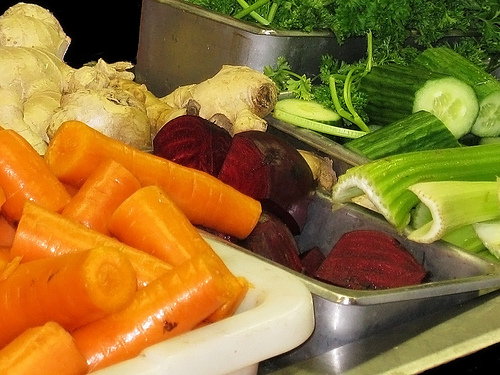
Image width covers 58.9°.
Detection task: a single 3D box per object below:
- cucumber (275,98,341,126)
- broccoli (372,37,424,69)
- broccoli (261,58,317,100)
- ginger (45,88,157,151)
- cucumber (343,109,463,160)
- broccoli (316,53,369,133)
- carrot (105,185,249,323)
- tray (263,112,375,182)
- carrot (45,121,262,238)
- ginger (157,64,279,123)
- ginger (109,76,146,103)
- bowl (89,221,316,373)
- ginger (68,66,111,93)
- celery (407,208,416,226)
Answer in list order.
[{"bbox_3d":[0.239,-0.316,1.809,0.171,0.131,0.204,-22,20,-37],"label":"cucumber"},{"bbox_3d":[0.678,-0.613,1.983,0.248,0.069,0.283,23,13,20],"label":"broccoli"},{"bbox_3d":[0.203,-0.450,1.852,0.320,0.159,0.147,-10,35,-36],"label":"broccoli"},{"bbox_3d":[-0.446,-0.178,1.325,0.230,0.135,0.230,46,36,10],"label":"ginger"},{"bbox_3d":[0.557,-0.176,1.636,0.343,0.137,0.199,-18,3,-1],"label":"cucumber"},{"bbox_3d":[0.393,-0.422,1.884,0.298,0.147,0.307,-4,31,2],"label":"broccoli"},{"bbox_3d":[-0.177,0.095,0.903,0.354,0.180,0.145,42,18,-1],"label":"carrot"},{"bbox_3d":[0.240,-0.157,1.609,0.242,0.100,0.273,35,-3,-28],"label":"tray"},{"bbox_3d":[-0.233,-0.016,1.161,0.521,0.162,0.165,21,20,5],"label":"carrot"},{"bbox_3d":[-0.142,-0.343,1.622,0.446,0.223,0.192,25,30,22],"label":"ginger"},{"bbox_3d":[-0.460,-0.368,1.701,0.138,0.049,0.149,22,-21,-38],"label":"ginger"},{"bbox_3d":[-0.031,0.239,0.779,0.263,0.118,0.401,20,29,14],"label":"bowl"},{"bbox_3d":[-0.528,-0.356,1.457,0.108,0.066,0.090,-12,-10,-1],"label":"ginger"},{"bbox_3d":[0.487,0.091,1.335,0.010,0.040,0.040,8,0,-6],"label":"celery"}]
